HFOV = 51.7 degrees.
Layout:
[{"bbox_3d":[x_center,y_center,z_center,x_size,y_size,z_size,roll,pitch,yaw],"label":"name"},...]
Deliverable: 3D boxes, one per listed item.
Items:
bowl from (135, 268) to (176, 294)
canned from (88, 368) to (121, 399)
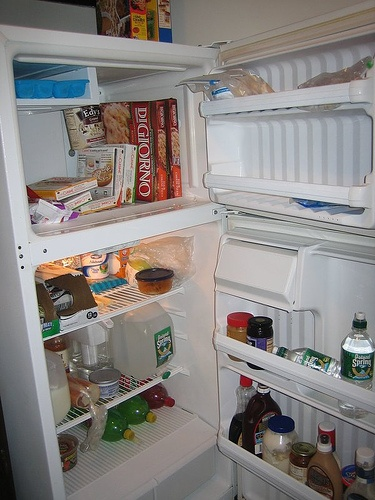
[{"bbox_3d":[-0.120,0.099,1.307,0.097,0.044,0.094,-1,18,0],"label":"bowl"},{"bbox_3d":[-0.275,0.430,1.272,0.087,0.056,0.084,-5,20,-10],"label":"canned"}]
